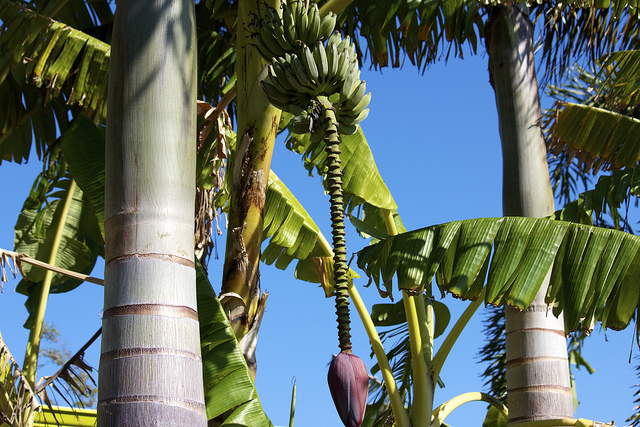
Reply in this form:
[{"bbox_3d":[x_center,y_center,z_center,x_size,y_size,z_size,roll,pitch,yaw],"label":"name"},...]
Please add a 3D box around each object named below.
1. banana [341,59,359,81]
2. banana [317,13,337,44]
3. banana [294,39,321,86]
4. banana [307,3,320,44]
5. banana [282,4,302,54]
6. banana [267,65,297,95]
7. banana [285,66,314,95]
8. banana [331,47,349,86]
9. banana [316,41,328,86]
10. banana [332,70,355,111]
[{"bbox_3d":[0.199,-0.907,4.890,0.049,0.202,0.077,10,-49,23],"label":"banana"},{"bbox_3d":[0.049,-1.199,5.063,0.070,0.254,0.082,26,-11,-14],"label":"banana"},{"bbox_3d":[-0.064,-0.905,4.800,0.083,0.326,0.058,-25,-4,31],"label":"banana"},{"bbox_3d":[-0.041,-1.204,4.998,0.079,0.261,0.058,5,11,32],"label":"banana"},{"bbox_3d":[-0.192,-1.186,4.997,0.063,0.364,0.130,-19,2,-6],"label":"banana"},{"bbox_3d":[-0.227,-0.822,4.826,0.035,0.176,0.063,-36,9,33],"label":"banana"},{"bbox_3d":[-0.122,-0.820,4.783,0.033,0.156,0.057,-29,8,48],"label":"banana"},{"bbox_3d":[0.129,-0.897,4.819,0.064,0.269,0.083,14,-8,-12],"label":"banana"},{"bbox_3d":[0.004,-0.915,4.761,0.070,0.243,0.051,3,-9,-41],"label":"banana"},{"bbox_3d":[0.145,-0.758,4.788,0.045,0.247,0.079,14,7,-13],"label":"banana"}]
